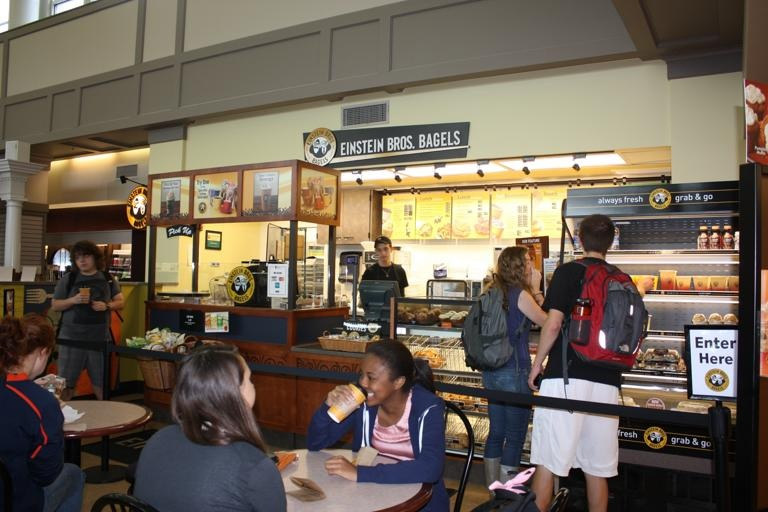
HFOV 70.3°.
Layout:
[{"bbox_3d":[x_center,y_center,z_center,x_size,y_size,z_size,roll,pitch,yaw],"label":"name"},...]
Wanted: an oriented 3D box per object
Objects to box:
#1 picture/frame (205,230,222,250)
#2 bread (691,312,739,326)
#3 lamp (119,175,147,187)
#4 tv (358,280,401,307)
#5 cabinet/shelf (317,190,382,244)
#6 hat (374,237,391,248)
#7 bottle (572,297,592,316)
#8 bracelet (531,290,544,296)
[{"bbox_3d":[-2.761,-0.258,8.684,0.033,0.277,0.327,-3,-3,26],"label":"picture/frame"},{"bbox_3d":[2.918,0.537,4.800,0.353,0.081,0.118,0,-1,19],"label":"bread"},{"bbox_3d":[-4.956,-1.475,10.717,0.442,0.277,0.785,0,7,-16],"label":"lamp"},{"bbox_3d":[-0.065,0.509,6.235,0.493,0.421,0.280,-2,11,21],"label":"tv"},{"bbox_3d":[-0.520,-0.652,8.901,1.033,0.881,0.365,1,0,25],"label":"cabinet/shelf"},{"bbox_3d":[-0.026,-0.196,7.702,0.211,0.160,0.408,1,-1,-5],"label":"hat"},{"bbox_3d":[1.428,0.360,3.911,0.093,0.157,0.105,8,11,-41],"label":"bottle"},{"bbox_3d":[1.493,0.352,5.249,0.097,0.028,0.099,-2,3,-43],"label":"bracelet"}]
